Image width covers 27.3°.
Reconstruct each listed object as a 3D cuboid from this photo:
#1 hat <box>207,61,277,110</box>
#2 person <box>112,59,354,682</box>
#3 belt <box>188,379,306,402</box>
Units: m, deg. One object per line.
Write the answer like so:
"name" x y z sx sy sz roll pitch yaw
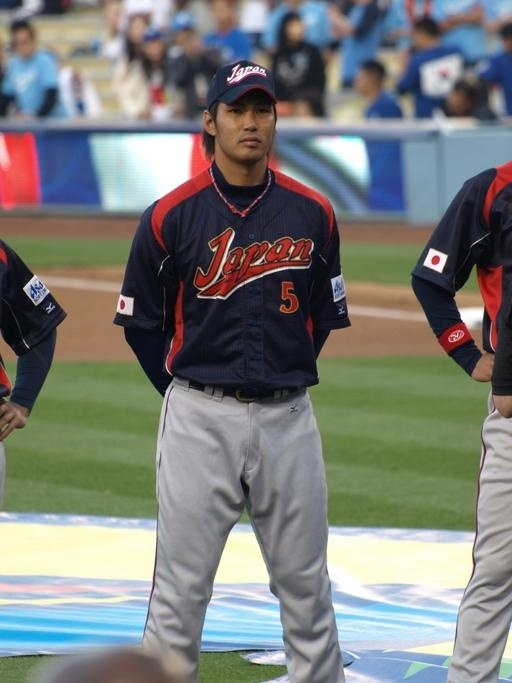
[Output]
"hat" -0.035 -0.639 2.670 0.135 0.075 0.162 -1 -10 -14
"person" -0.031 0.086 2.656 0.635 1.571 0.589 -1 14 -7
"belt" -0.022 0.129 2.648 0.297 0.053 0.071 -1 12 -10
